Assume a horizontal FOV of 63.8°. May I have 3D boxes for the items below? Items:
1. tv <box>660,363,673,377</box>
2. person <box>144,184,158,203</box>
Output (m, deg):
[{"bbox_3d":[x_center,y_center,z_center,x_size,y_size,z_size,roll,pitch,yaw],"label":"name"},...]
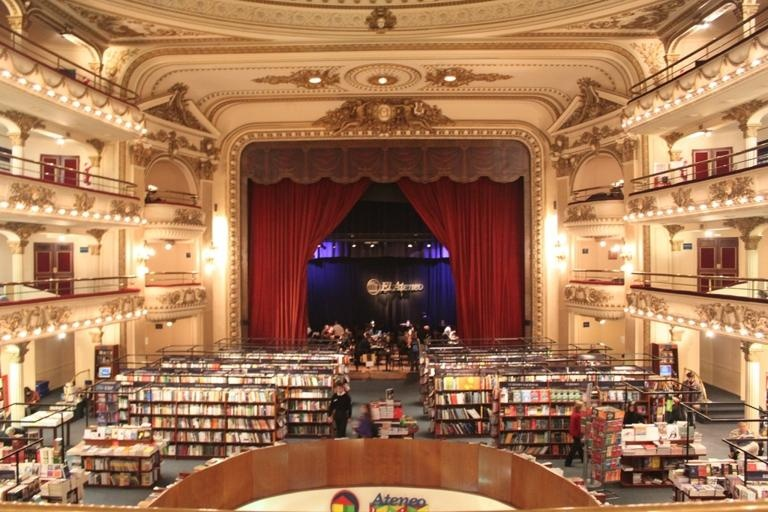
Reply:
[{"bbox_3d":[8.669,3.572,19.088,0.413,0.361,0.212,2,-1,6],"label":"tv"},{"bbox_3d":[-8.074,-2.103,21.529,0.391,0.780,1.499,1,-7,-19],"label":"person"}]
